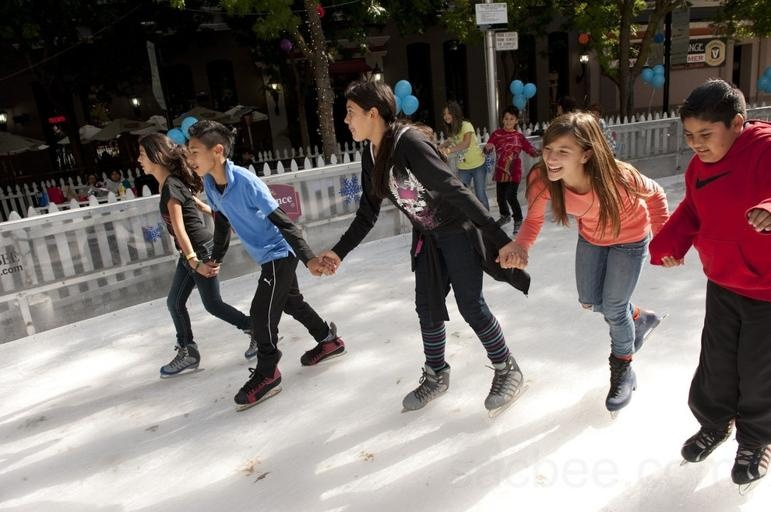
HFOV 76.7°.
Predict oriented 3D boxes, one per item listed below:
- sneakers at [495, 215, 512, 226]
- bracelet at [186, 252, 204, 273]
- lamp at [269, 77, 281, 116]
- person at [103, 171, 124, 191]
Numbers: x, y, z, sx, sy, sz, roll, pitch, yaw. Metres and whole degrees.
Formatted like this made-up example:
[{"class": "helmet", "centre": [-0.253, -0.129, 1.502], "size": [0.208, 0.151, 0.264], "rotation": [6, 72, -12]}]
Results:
[{"class": "sneakers", "centre": [2.151, -0.646, 8.953], "size": [0.236, 0.182, 0.541], "rotation": [16, 2, -6]}, {"class": "bracelet", "centre": [-1.882, 0.055, 4.791], "size": [0.143, 0.198, 0.091], "rotation": [5, 64, 60]}, {"class": "lamp", "centre": [-4.427, -6.446, 19.864], "size": [0.465, 1.326, 0.664], "rotation": [-10, 19, -9]}, {"class": "person", "centre": [-7.320, -1.997, 13.140], "size": [0.456, 0.489, 1.065], "rotation": [-16, 20, -25]}]
